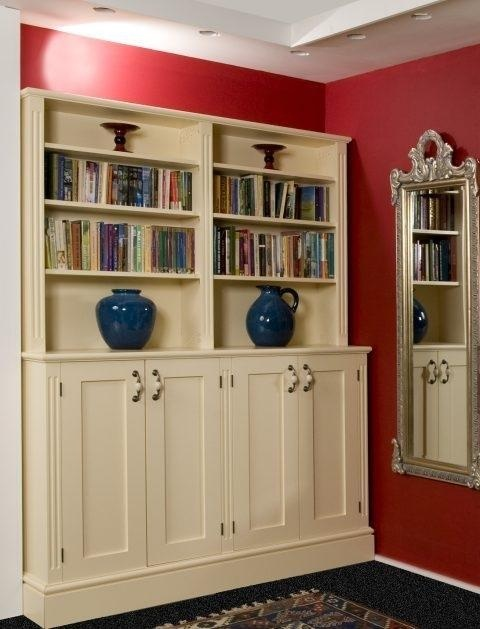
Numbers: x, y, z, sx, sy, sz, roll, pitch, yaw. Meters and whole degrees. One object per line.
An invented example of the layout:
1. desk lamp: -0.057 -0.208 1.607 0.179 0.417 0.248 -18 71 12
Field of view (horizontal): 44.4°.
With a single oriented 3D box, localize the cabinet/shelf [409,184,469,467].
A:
1. cabinet/shelf: 0.977 0.049 2.912 0.160 1.374 0.519 4 -11 -20
